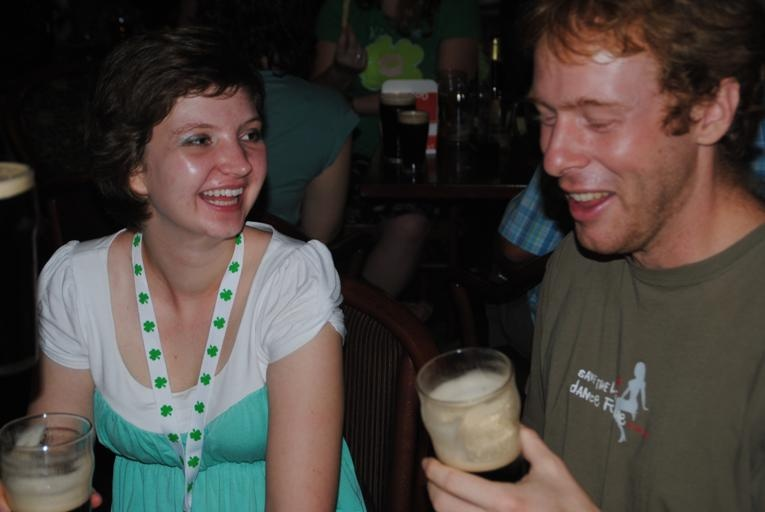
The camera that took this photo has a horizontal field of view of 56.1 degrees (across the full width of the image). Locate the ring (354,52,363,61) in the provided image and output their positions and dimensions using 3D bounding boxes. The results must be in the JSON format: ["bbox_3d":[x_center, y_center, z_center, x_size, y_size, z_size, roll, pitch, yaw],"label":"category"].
[{"bbox_3d":[-0.140,-1.255,4.481,0.045,0.043,0.010,12,0,-16],"label":"ring"}]

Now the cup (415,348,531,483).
[{"bbox_3d":[0.203,0.380,1.637,0.231,0.299,0.165,-4,18,0],"label":"cup"}]
